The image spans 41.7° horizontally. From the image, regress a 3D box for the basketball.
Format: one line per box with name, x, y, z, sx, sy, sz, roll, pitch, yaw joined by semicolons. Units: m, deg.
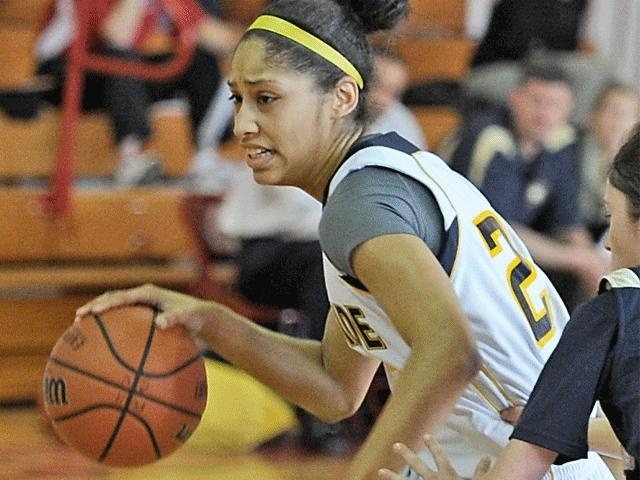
basketball;-0.534;0.406;2.245;0.451;0.447;0.444;17;-14;2
